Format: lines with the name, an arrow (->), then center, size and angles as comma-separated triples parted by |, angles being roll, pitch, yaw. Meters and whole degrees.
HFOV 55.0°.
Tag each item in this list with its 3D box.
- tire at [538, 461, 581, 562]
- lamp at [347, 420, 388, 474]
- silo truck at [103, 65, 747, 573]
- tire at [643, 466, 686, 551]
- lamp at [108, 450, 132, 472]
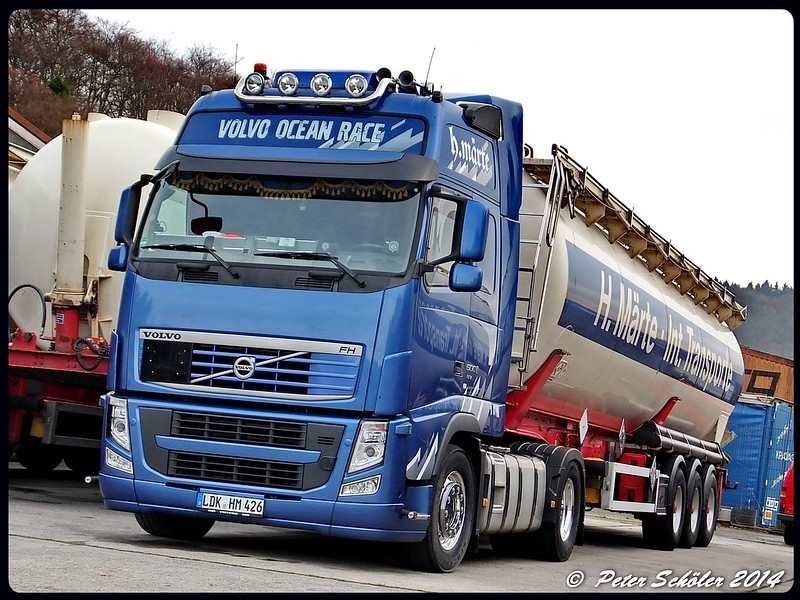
tire -> 2.132, 2.561, 9.618 | 0.302, 0.937, 0.916 | 11, -25, -25
lamp -> -0.268, 1.238, 6.547 | 0.272, 0.494, 0.131 | 7, 3, 2
silo truck -> 1.399, 0.544, 11.587 | 4.079, 5.178, 11.839 | 0, -6, 29
tire -> 4.754, 3.671, 13.611 | 0.464, 1.438, 1.399 | 2, -12, 33
lamp -> -2.568, 1.458, 6.909 | 0.185, 0.068, 0.202 | 26, 10, -21
